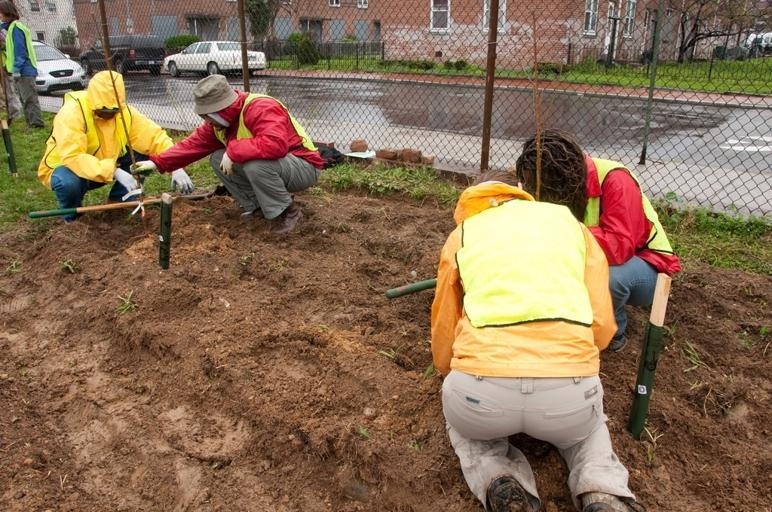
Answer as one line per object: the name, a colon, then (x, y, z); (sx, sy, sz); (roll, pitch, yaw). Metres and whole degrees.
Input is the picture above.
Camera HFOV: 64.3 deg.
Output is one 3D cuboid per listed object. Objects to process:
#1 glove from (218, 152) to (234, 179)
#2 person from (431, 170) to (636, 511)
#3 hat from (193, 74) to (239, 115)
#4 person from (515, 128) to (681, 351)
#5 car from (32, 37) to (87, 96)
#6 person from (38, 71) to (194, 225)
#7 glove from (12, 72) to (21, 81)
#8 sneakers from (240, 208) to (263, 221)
glove: (-1.464, -0.836, 5.712); (0.163, 0.235, 0.082); (12, 27, 26)
person: (0.874, 0.613, 3.696); (1.251, 1.728, 1.021); (4, 23, 9)
hat: (-1.536, -1.445, 5.515); (0.396, 0.343, 0.211); (-7, 24, -16)
person: (1.520, -0.091, 4.524); (1.293, 1.498, 0.953); (-3, 9, -33)
car: (-7.812, -4.473, 14.583); (0.996, 0.968, 1.905); (-19, 27, -39)
person: (-2.753, -1.096, 6.286); (1.395, 1.300, 1.187); (0, 28, -28)
glove: (-5.868, -2.845, 9.694); (0.110, 0.087, 0.114); (4, 6, 23)
sneakers: (-1.332, -0.412, 6.077); (0.185, 0.103, 0.114); (-10, 6, 1)
